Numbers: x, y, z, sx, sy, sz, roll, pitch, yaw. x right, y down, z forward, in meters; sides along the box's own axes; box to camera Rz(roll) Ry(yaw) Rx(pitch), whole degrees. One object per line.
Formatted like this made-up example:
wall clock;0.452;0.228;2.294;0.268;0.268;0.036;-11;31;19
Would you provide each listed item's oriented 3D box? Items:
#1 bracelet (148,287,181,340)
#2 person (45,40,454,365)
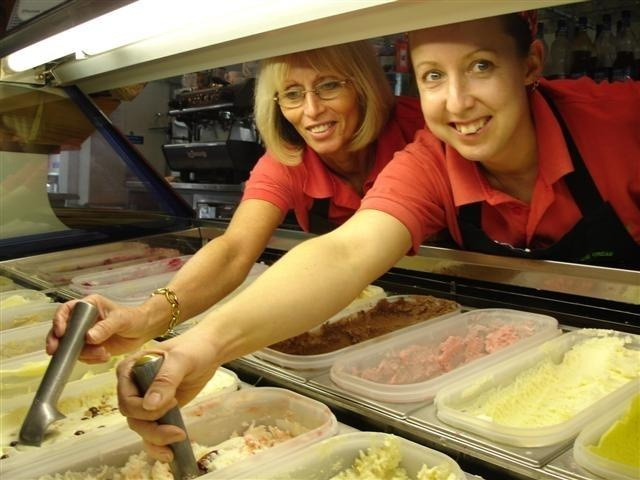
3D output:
bracelet;-0.384;0.184;1.064;0.103;0.102;0.033;-2;-3;-44
person;-0.197;-0.249;1.454;1.414;0.677;0.625;-29;15;-27
